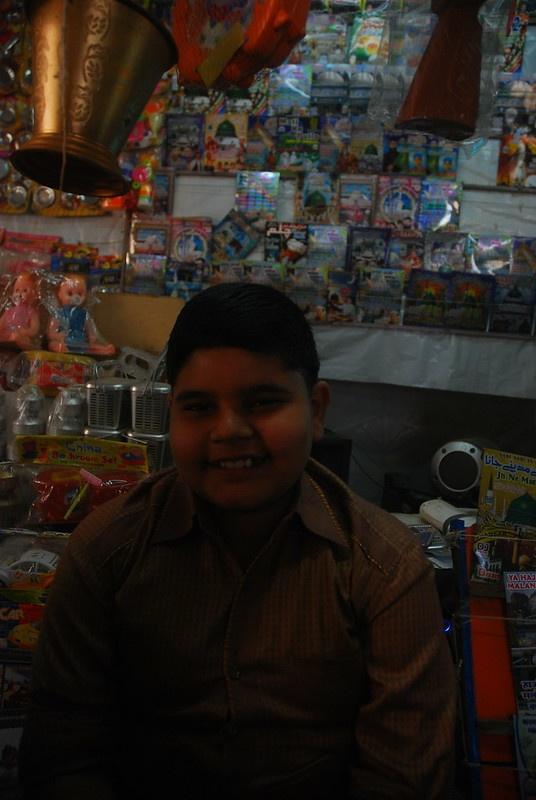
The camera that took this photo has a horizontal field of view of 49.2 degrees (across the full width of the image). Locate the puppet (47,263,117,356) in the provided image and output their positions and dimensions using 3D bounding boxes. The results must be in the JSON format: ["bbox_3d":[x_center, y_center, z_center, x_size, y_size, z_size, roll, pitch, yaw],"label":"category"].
[{"bbox_3d":[-0.744,-0.336,2.242,0.297,0.362,0.317,0,7,-28],"label":"puppet"}]
